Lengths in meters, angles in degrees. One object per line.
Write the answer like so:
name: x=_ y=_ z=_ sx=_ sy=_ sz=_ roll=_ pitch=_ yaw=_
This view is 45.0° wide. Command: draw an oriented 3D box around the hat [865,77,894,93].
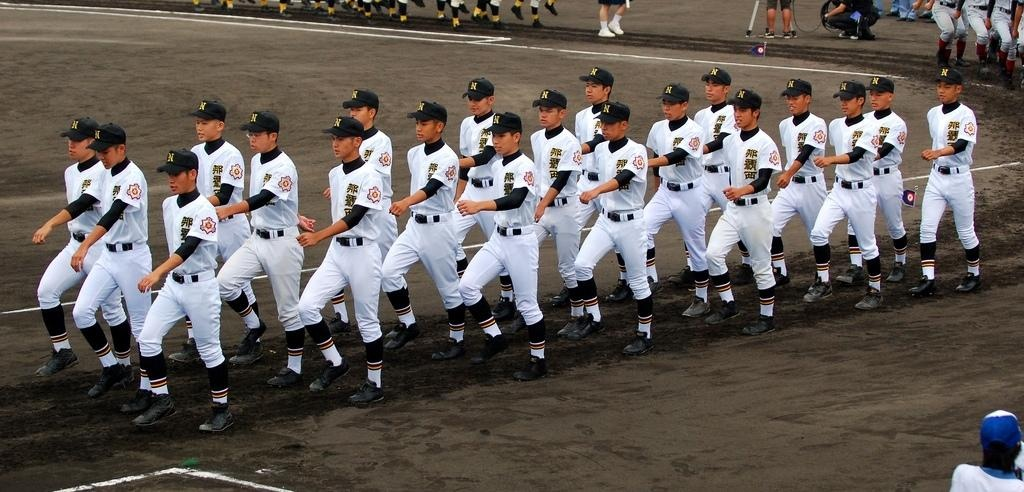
hat: x=8.000 y=-3.529 z=26.936 sx=0.416 sy=0.331 sz=0.403 roll=5 pitch=11 yaw=34

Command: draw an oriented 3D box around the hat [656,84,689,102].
hat: x=3.515 y=-3.284 z=26.510 sx=0.674 sy=0.236 sz=0.390 roll=5 pitch=17 yaw=-14

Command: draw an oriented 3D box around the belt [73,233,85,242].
belt: x=-8.717 y=-0.176 z=25.001 sx=0.232 sy=0.174 sz=0.081 roll=-1 pitch=25 yaw=1

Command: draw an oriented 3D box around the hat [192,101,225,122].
hat: x=-6.194 y=-2.804 z=25.591 sx=1.060 sy=0.357 sz=0.593 roll=0 pitch=11 yaw=-6

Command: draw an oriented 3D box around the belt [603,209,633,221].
belt: x=2.257 y=-0.618 z=25.638 sx=0.579 sy=0.215 sz=0.099 roll=-1 pitch=11 yaw=2

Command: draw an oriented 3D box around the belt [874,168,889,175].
belt: x=8.094 y=-1.637 z=27.163 sx=0.320 sy=0.157 sz=0.051 roll=-1 pitch=11 yaw=0

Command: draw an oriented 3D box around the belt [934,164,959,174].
belt: x=9.539 y=-1.672 z=27.165 sx=0.482 sy=0.178 sz=0.078 roll=1 pitch=11 yaw=14

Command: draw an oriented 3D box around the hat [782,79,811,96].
hat: x=6.326 y=-3.489 z=27.161 sx=0.752 sy=0.241 sz=0.459 roll=-2 pitch=5 yaw=-28

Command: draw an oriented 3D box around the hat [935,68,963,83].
hat: x=9.671 y=-3.751 z=27.160 sx=0.652 sy=0.217 sz=0.421 roll=-1 pitch=7 yaw=-30

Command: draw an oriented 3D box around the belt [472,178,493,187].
belt: x=-0.642 y=-1.366 z=26.624 sx=0.447 sy=0.155 sz=0.054 roll=0 pitch=11 yaw=9

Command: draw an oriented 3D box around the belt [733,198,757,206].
belt: x=4.953 y=-0.941 z=26.239 sx=0.458 sy=0.155 sz=0.075 roll=0 pitch=11 yaw=4

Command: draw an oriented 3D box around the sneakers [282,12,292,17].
sneakers: x=-7.871 y=-8.149 z=43.350 sx=0.531 sy=0.146 sz=0.150 roll=1 pitch=14 yaw=18
